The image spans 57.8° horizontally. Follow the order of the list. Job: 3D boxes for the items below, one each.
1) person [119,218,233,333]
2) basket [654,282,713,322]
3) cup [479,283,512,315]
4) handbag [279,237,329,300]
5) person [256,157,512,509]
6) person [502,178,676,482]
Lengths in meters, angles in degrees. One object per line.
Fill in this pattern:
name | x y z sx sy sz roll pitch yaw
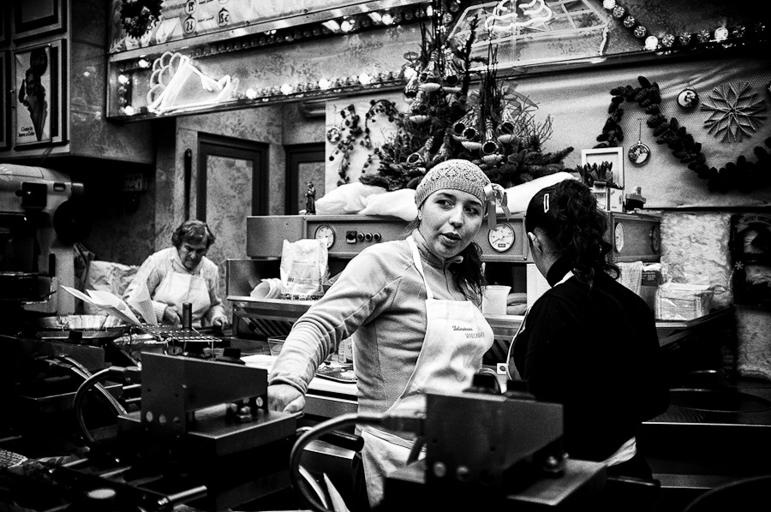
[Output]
person | -1.886 0.160 6.418 0.892 0.962 0.596 4 -4 -20
basket | 2.306 0.339 5.306 0.381 0.145 0.292 -4 0 -34
cup | 0.778 0.296 4.847 0.225 0.216 0.227 1 -4 0
handbag | -0.643 0.099 5.749 0.438 0.526 0.407 -2 15 -16
person | 0.046 0.125 3.310 1.091 1.233 0.394 3 -4 -16
person | 1.044 0.342 3.510 0.692 1.466 0.369 1 -4 21
